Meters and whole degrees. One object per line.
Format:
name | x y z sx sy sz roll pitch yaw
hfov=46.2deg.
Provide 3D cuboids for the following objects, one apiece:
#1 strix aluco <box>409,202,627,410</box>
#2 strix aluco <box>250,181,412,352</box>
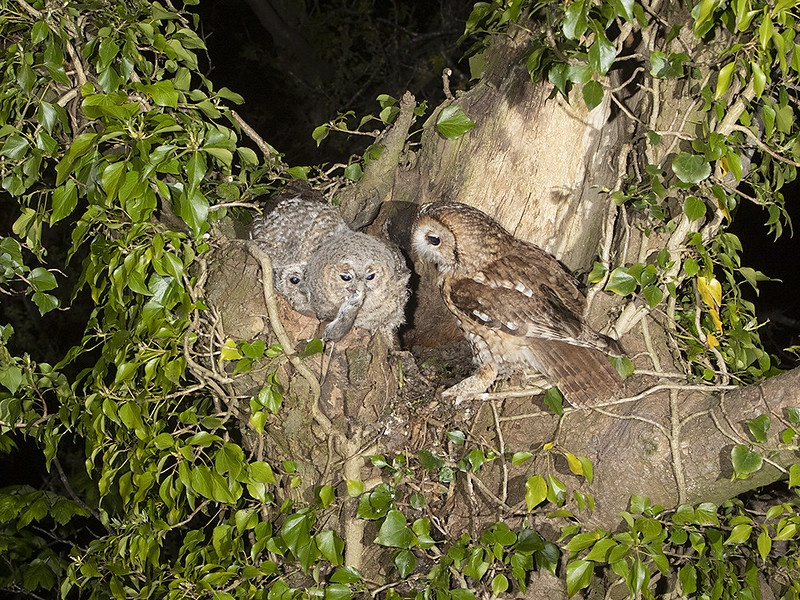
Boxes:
strix aluco | 0.397 0.001 3.267 0.720 0.665 0.465 4 18 24
strix aluco | -0.261 -0.108 3.369 0.519 0.478 0.421 27 27 30
